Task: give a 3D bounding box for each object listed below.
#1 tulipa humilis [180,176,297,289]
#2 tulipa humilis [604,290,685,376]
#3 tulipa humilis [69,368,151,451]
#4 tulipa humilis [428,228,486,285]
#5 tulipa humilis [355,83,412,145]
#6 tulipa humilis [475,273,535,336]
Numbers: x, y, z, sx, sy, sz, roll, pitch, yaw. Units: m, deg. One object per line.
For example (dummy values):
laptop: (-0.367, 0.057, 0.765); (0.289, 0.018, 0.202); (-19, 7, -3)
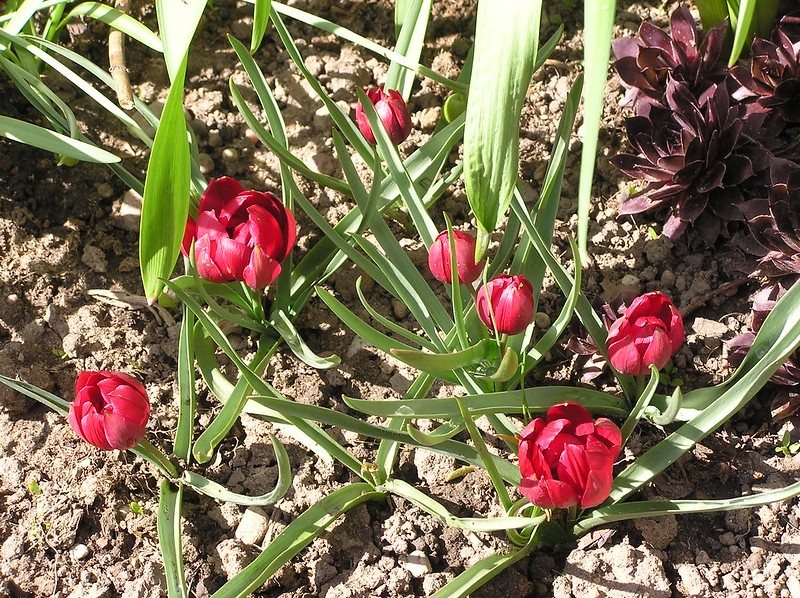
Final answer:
tulipa humilis: (-0.339, -0.135, 1.744); (0.180, 0.184, 0.274); (-11, 55, -10)
tulipa humilis: (0.542, 0.099, 1.750); (0.157, 0.244, 0.229); (6, 1, 27)
tulipa humilis: (-0.634, 0.259, 1.741); (0.135, 0.192, 0.177); (-4, 0, -38)
tulipa humilis: (0.111, -0.085, 1.658); (0.079, 0.128, 0.112); (0, 12, 6)
tulipa humilis: (-0.022, -0.415, 1.929); (0.094, 0.136, 0.116); (-10, 3, 11)
tulipa humilis: (0.216, 0.023, 1.654); (0.102, 0.144, 0.109); (7, -15, -16)
